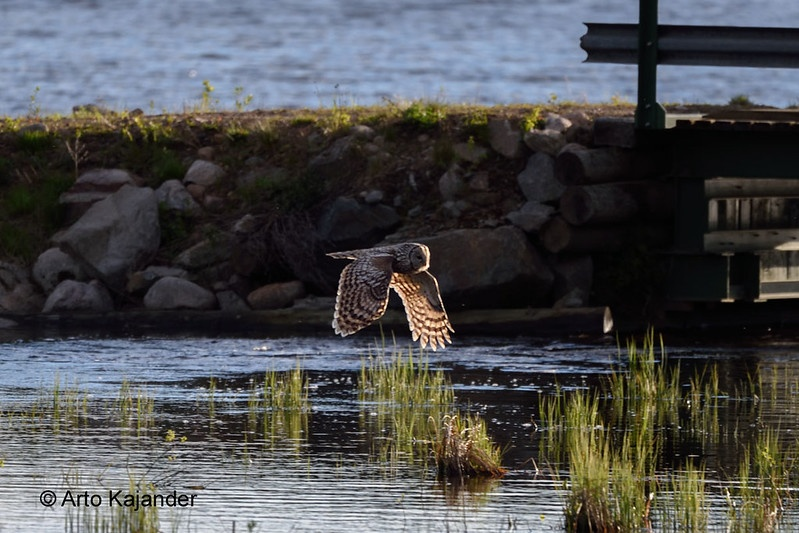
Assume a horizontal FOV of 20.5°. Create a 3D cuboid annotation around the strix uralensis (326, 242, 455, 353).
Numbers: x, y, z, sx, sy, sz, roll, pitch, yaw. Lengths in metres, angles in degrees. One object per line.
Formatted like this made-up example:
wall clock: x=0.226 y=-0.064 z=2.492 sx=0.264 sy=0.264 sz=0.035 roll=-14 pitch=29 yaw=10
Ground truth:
strix uralensis: x=-0.253 y=0.307 z=38.473 sx=1.749 sy=1.371 sz=1.990 roll=2 pitch=20 yaw=-46
